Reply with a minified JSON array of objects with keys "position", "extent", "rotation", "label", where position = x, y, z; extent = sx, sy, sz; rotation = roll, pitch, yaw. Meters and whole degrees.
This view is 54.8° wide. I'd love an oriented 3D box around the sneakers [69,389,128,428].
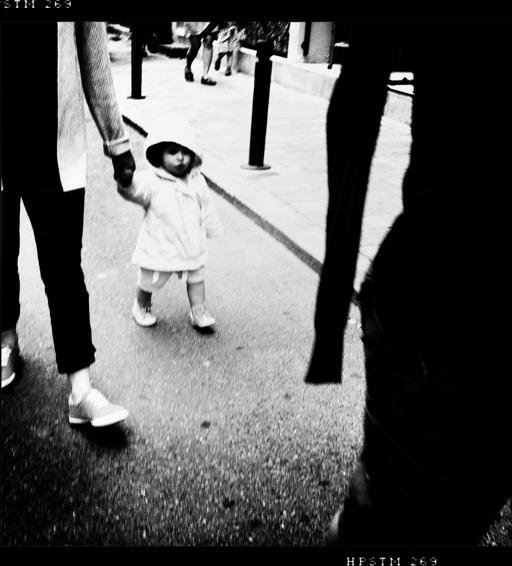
[{"position":[-0.417,0.315,1.284],"extent":[0.176,0.093,0.073],"rotation":[-4,5,39],"label":"sneakers"}]
